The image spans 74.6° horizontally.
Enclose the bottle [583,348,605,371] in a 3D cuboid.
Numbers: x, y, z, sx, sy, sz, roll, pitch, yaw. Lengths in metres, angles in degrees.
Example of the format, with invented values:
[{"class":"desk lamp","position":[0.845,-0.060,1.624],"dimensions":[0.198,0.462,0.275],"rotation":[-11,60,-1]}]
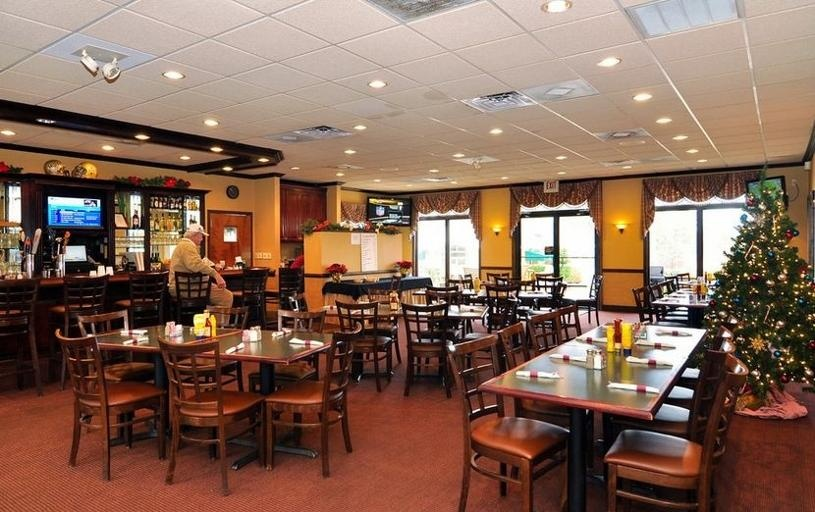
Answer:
[{"class":"bottle","position":[1.754,0.956,5.027],"dimensions":[0.243,0.195,0.173],"rotation":[-1,-4,13]}]

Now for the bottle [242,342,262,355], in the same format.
[{"class":"bottle","position":[-1.670,0.987,5.739],"dimensions":[0.094,0.091,0.151],"rotation":[-1,-1,11]}]

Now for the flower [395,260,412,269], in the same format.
[{"class":"flower","position":[-0.099,0.160,11.606],"dimensions":[0.229,0.161,0.215],"rotation":[0,-1,21]}]

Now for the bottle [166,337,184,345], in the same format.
[{"class":"bottle","position":[-2.579,0.919,5.864],"dimensions":[0.135,0.045,0.129],"rotation":[2,1,0]}]

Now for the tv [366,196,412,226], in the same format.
[{"class":"tv","position":[-0.628,-1.400,16.112],"dimensions":[1.549,0.764,0.155],"rotation":[0,0,-36]}]

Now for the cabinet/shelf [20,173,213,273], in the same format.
[{"class":"cabinet/shelf","position":[-5.610,-0.614,9.983],"dimensions":[0.344,1.196,2.378],"rotation":[-1,-1,35]}]

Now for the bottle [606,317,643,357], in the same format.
[{"class":"bottle","position":[2.232,0.823,5.587],"dimensions":[0.470,0.451,0.372],"rotation":[0,0,12]}]

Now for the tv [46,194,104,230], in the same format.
[{"class":"tv","position":[-6.134,-0.834,9.701],"dimensions":[0.111,0.498,0.813],"rotation":[1,1,44]}]

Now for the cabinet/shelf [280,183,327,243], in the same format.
[{"class":"cabinet/shelf","position":[-2.666,-1.093,13.187],"dimensions":[0.709,1.459,1.917],"rotation":[-2,-3,29]}]

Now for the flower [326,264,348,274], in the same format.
[{"class":"flower","position":[-1.418,0.226,10.365],"dimensions":[0.262,0.150,0.244],"rotation":[1,1,22]}]
